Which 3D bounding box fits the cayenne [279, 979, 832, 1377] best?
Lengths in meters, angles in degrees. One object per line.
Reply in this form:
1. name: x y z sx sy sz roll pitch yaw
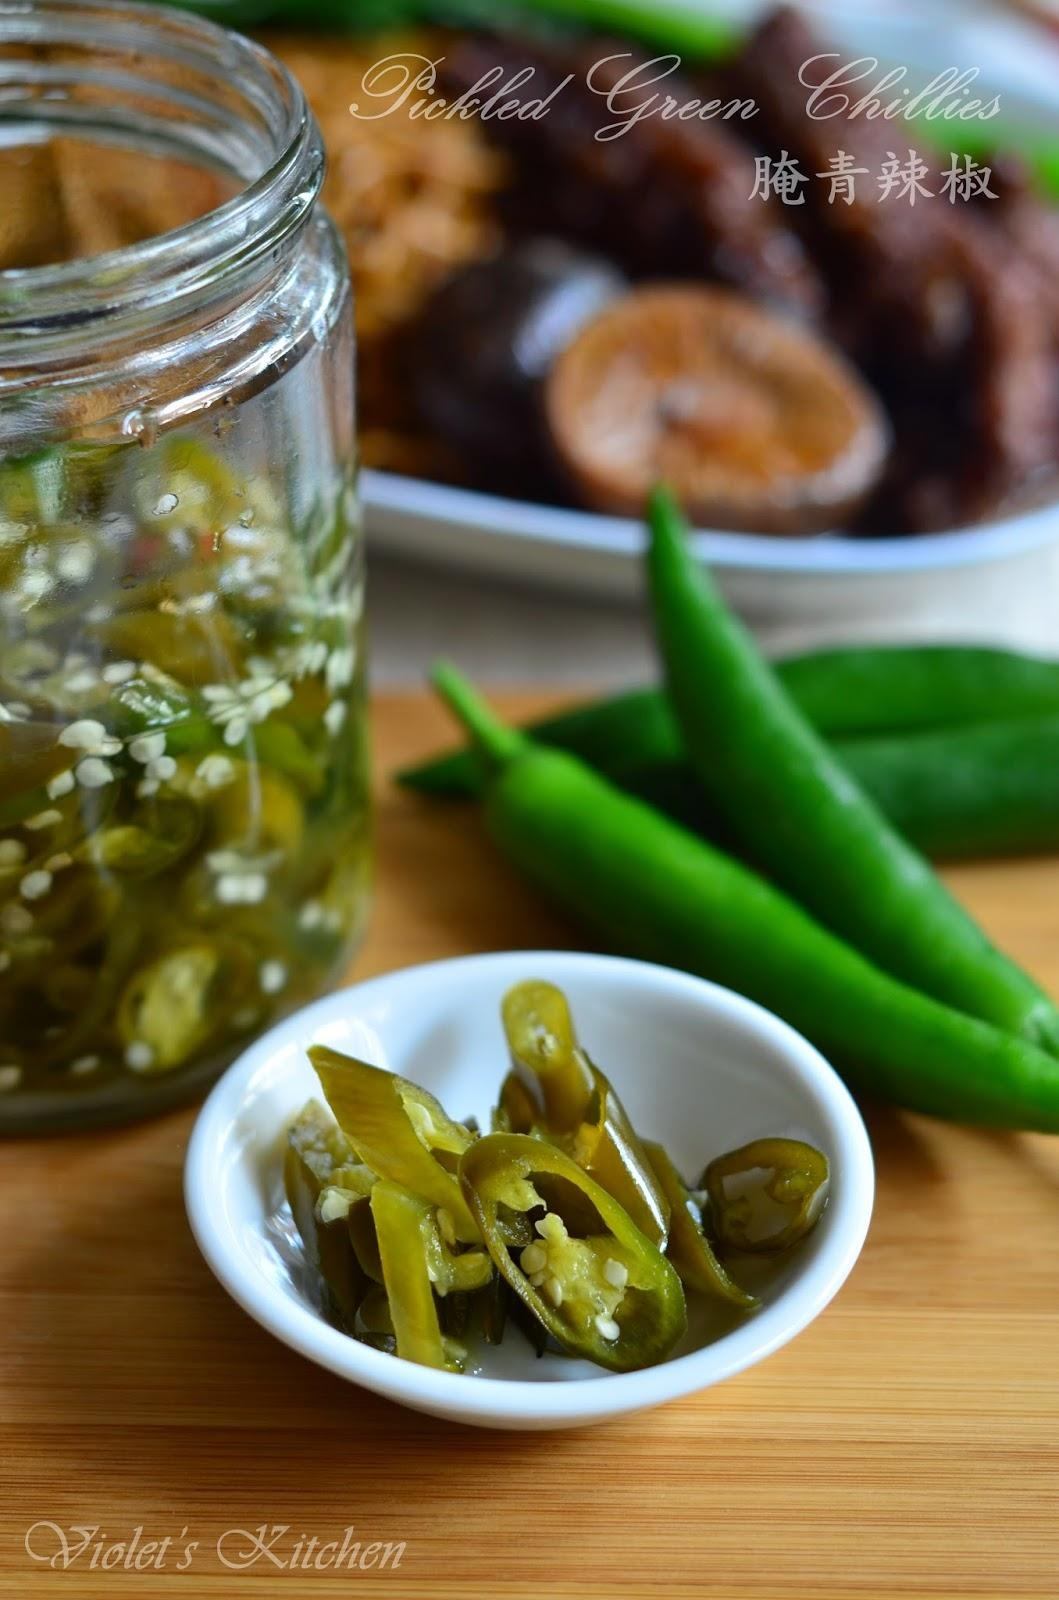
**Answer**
1. cayenne: -0.020 0.185 0.696 0.149 0.068 0.162 52 27 12
